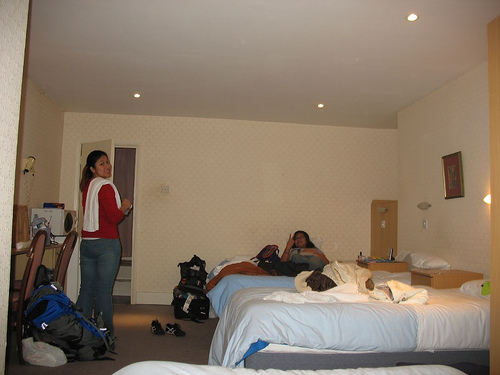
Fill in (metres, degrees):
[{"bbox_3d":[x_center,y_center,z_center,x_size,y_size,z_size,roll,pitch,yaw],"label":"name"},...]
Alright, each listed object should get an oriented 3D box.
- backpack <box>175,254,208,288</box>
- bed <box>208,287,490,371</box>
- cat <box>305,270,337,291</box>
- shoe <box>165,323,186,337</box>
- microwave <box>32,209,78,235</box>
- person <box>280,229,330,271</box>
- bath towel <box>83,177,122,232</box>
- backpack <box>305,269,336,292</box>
[{"bbox_3d":[-0.818,1.257,5.515,0.524,0.276,0.658,12,33,-11],"label":"backpack"},{"bbox_3d":[0.836,1.133,2.935,1.824,0.545,1.133,1,-6,-5],"label":"bed"},{"bbox_3d":[0.684,0.920,3.630,0.164,0.083,0.201,-4,17,-26],"label":"cat"},{"bbox_3d":[-0.911,1.702,4.473,0.255,0.109,0.107,0,-6,30],"label":"shoe"},{"bbox_3d":[-2.868,0.477,5.434,0.486,0.440,0.703,3,4,-14],"label":"microwave"},{"bbox_3d":[0.861,0.958,5.691,0.628,0.315,0.761,8,20,10],"label":"person"},{"bbox_3d":[-1.523,0.173,3.818,0.365,0.570,0.195,4,-4,-19],"label":"bath towel"},{"bbox_3d":[0.688,0.966,3.763,0.348,0.160,0.289,5,-9,-33],"label":"backpack"}]
